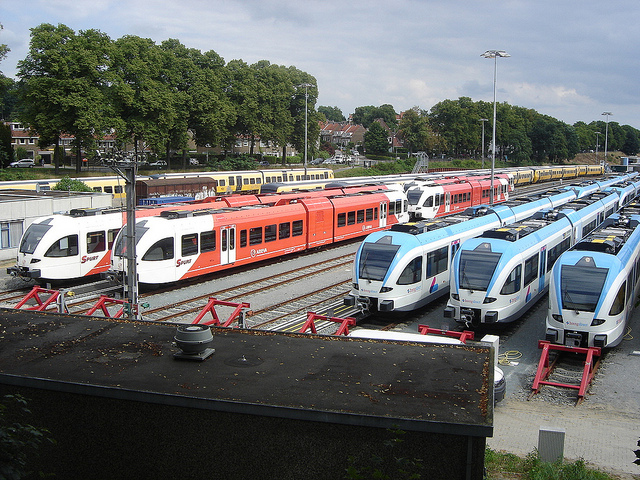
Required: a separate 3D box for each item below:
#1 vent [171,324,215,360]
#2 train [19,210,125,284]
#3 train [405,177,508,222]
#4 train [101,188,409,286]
[{"bbox_3d":[-2.576,2.021,11.509,0.726,0.352,0.680,1,4,16],"label":"vent"},{"bbox_3d":[-11.135,0.326,25.937,2.884,3.219,4.634,2,7,26],"label":"train"},{"bbox_3d":[12.521,-3.829,50.156,2.107,2.598,15.571,5,11,44],"label":"train"},{"bbox_3d":[-1.597,-1.112,34.444,2.854,2.792,24.600,10,14,35],"label":"train"}]
